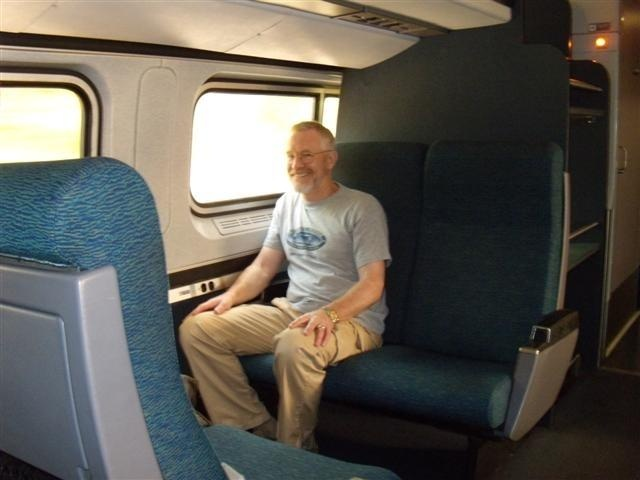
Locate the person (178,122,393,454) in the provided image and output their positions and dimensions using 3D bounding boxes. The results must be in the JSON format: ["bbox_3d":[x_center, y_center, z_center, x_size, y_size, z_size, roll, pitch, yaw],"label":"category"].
[{"bbox_3d":[-0.175,0.282,3.006,1.076,1.755,1.144,3,9,34],"label":"person"}]
